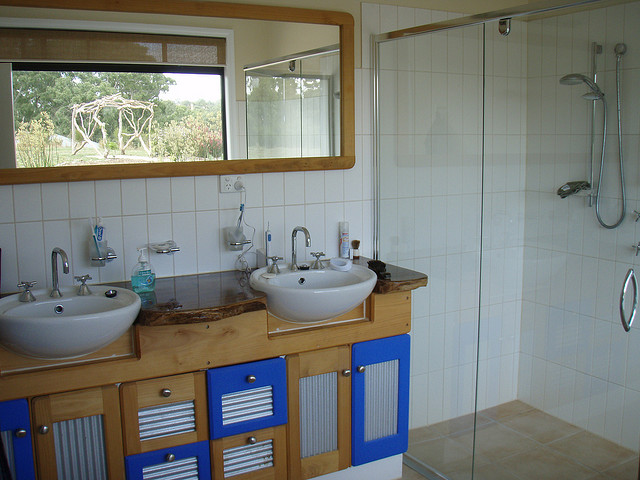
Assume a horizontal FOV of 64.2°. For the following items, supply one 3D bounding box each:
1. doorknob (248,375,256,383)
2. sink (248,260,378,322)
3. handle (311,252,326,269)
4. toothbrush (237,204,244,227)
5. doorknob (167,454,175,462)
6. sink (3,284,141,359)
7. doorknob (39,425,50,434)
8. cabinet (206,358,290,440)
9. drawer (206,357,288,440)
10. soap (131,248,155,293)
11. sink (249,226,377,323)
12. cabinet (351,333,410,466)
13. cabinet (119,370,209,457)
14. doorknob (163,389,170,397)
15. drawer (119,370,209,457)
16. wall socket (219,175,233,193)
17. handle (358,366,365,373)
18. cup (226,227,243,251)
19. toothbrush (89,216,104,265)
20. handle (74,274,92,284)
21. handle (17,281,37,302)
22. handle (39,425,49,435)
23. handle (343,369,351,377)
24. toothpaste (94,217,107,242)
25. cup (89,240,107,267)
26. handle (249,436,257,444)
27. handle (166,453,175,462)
[{"bbox_3d":[-0.322,0.657,2.408,0.022,0.044,0.036,-1,10,19],"label":"doorknob"},{"bbox_3d":[-0.037,0.255,2.605,0.622,0.241,0.513,-8,10,-22],"label":"sink"},{"bbox_3d":[-0.007,0.116,2.778,0.076,0.075,0.075,0,5,10],"label":"handle"},{"bbox_3d":[-0.441,-0.135,2.827,0.047,0.120,0.031,-6,10,-11],"label":"toothbrush"},{"bbox_3d":[-0.676,0.982,2.307,0.031,0.031,0.031,6,10,44],"label":"doorknob"},{"bbox_3d":[-1.094,0.363,2.254,0.534,0.268,0.541,-10,11,-31],"label":"sink"},{"bbox_3d":[-1.158,0.795,2.151,0.034,0.032,0.015,5,7,-30],"label":"doorknob"},{"bbox_3d":[-0.357,0.731,2.469,0.336,0.293,0.359,-2,3,-24],"label":"cabinet"},{"bbox_3d":[-0.391,0.756,2.530,0.373,0.321,0.265,-1,0,-24],"label":"drawer"},{"bbox_3d":[-0.872,0.164,2.507,0.111,0.174,0.097,-8,10,-21],"label":"soap"},{"bbox_3d":[-0.040,0.176,2.577,0.656,0.439,0.471,-4,13,-30],"label":"sink"},{"bbox_3d":[0.252,0.849,2.895,0.369,0.658,0.416,-2,4,-23],"label":"cabinet"},{"bbox_3d":[-0.749,0.757,2.438,0.354,0.338,0.368,-2,2,-27],"label":"cabinet"},{"bbox_3d":[-0.687,0.682,2.280,0.042,0.039,0.024,-1,9,-19],"label":"doorknob"},{"bbox_3d":[-0.745,0.760,2.413,0.348,0.319,0.370,-2,3,-27],"label":"drawer"},{"bbox_3d":[-0.515,-0.309,2.776,0.092,0.121,0.012,-4,14,-24],"label":"wall socket"},{"bbox_3d":[0.214,0.666,2.639,0.008,0.031,0.033,3,-15,40],"label":"handle"},{"bbox_3d":[-0.465,-0.008,2.787,0.108,0.138,0.111,0,7,0],"label":"cup"},{"bbox_3d":[-1.112,0.005,2.537,0.027,0.251,0.013,-14,5,-22],"label":"toothbrush"},{"bbox_3d":[-1.103,0.175,2.377,0.054,0.022,0.056,2,0,-41],"label":"handle"},{"bbox_3d":[-1.313,0.233,2.329,0.087,0.084,0.082,0,7,-6],"label":"handle"},{"bbox_3d":[-1.166,0.803,2.156,0.035,0.041,0.021,-8,10,-23],"label":"handle"},{"bbox_3d":[0.136,0.679,2.610,0.045,0.039,0.025,-2,3,-28],"label":"handle"},{"bbox_3d":[-1.100,-0.053,2.553,0.042,0.111,0.094,-7,10,-17],"label":"toothpaste"},{"bbox_3d":[-1.101,0.067,2.534,0.086,0.126,0.047,-7,10,-14],"label":"cup"},{"bbox_3d":[-0.322,0.954,2.432,0.029,0.028,0.007,-34,12,-6],"label":"handle"},{"bbox_3d":[-0.675,0.983,2.307,0.033,0.031,0.033,-9,14,-39],"label":"handle"}]
